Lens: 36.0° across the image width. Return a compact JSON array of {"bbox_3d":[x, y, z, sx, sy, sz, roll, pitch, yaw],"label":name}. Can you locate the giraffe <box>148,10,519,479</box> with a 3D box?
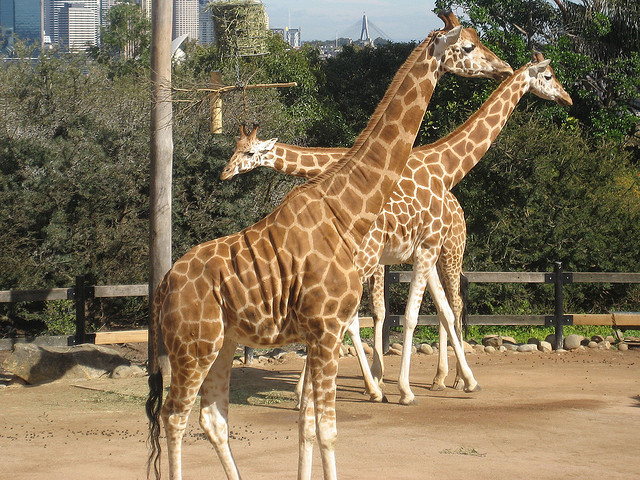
[{"bbox_3d":[-0.194,0.132,14.256,4.564,6.838,2.235,-3,4,-32],"label":"giraffe"}]
